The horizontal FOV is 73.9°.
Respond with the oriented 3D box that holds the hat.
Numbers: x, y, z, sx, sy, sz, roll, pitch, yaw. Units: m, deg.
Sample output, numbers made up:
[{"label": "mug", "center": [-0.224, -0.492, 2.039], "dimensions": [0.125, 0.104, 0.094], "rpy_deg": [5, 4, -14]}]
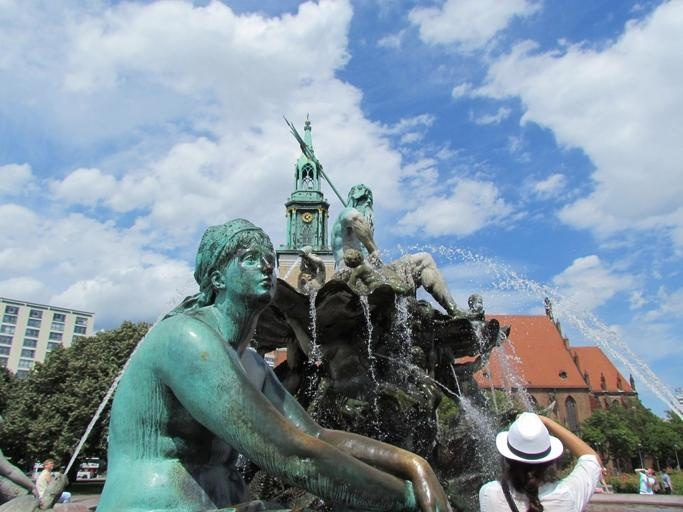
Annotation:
[{"label": "hat", "center": [1.096, 1.015, 2.611], "dimensions": [0.420, 0.154, 0.474], "rpy_deg": [-16, 1, 12]}]
